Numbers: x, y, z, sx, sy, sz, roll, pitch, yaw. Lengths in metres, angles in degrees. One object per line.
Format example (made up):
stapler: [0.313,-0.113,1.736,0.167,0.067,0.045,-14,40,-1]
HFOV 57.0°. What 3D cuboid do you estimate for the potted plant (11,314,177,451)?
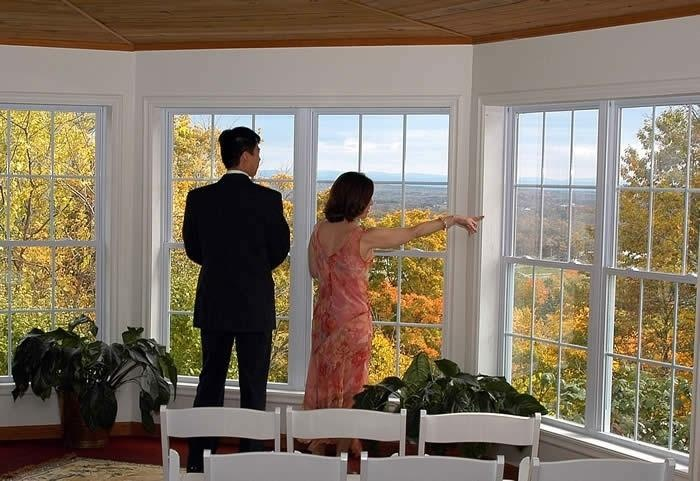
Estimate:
potted plant: [-2.008,1.122,5.106,1.242,1.031,0.676,0,2,-9]

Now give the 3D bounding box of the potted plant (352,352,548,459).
potted plant: [0.474,1.111,4.686,1.314,0.465,1.148,-6,-16,-27]

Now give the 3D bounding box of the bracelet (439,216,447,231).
bracelet: [0.672,-0.122,4.586,0.033,0.084,0.073,-18,29,-16]
